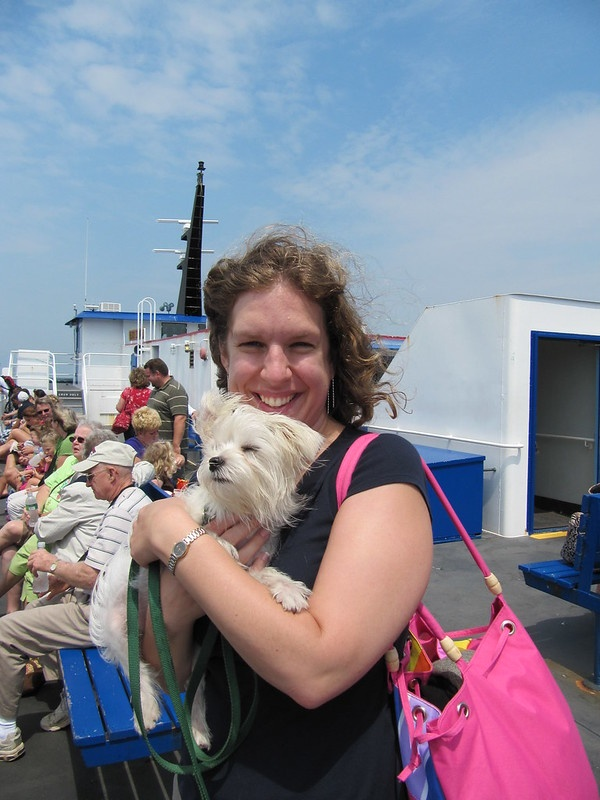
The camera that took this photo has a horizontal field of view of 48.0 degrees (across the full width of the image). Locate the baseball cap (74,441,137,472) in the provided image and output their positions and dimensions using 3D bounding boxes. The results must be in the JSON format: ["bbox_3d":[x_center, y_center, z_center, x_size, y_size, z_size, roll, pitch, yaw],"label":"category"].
[{"bbox_3d":[-1.200,0.350,4.190,0.321,0.151,0.189,2,-2,-10],"label":"baseball cap"}]

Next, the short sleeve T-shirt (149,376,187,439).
[{"bbox_3d":[-1.522,0.106,7.725,0.422,0.658,0.767,2,-2,-24],"label":"short sleeve T-shirt"}]
